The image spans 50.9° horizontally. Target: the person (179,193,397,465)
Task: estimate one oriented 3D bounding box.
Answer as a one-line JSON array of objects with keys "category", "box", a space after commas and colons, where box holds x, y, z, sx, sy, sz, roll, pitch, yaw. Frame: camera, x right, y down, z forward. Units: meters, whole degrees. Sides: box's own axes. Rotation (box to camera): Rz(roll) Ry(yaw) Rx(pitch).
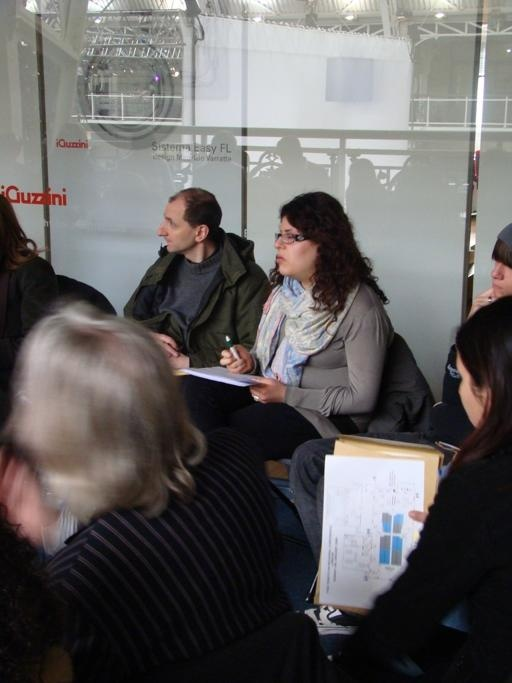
[{"category": "person", "box": [0.131, 0.119, 2.465, 0.895, 1.473, 0.743, -10, 21, -33]}]
